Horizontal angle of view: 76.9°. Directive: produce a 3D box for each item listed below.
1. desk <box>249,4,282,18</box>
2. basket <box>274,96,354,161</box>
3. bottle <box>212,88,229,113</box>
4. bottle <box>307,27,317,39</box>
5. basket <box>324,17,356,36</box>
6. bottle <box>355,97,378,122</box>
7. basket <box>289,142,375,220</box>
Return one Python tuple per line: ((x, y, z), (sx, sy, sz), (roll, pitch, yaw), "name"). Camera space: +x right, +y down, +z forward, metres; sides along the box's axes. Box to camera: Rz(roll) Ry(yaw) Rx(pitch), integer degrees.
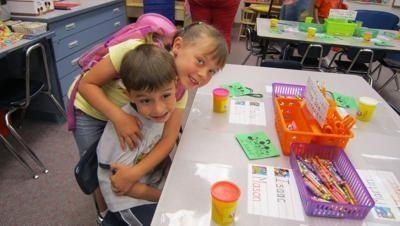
((1.564, -2.484, 6.073), (0.811, 0.179, 0.500), (1, 45, 1), "desk")
((0.870, 0.102, 2.033), (0.477, 0.188, 0.550), (3, 29, -5), "basket")
((0.174, -0.103, 2.135), (0.163, 0.172, 0.143), (-10, 38, -16), "bottle")
((1.731, -1.256, 3.975), (0.170, 0.134, 0.168), (-1, 34, 1), "bottle")
((2.262, -1.398, 4.077), (0.422, 0.156, 0.267), (5, 29, -2), "basket")
((1.434, -0.027, 2.158), (0.154, 0.158, 0.146), (-18, 34, -23), "bottle")
((0.904, 0.484, 1.771), (0.415, 0.162, 0.491), (3, 42, -4), "basket")
